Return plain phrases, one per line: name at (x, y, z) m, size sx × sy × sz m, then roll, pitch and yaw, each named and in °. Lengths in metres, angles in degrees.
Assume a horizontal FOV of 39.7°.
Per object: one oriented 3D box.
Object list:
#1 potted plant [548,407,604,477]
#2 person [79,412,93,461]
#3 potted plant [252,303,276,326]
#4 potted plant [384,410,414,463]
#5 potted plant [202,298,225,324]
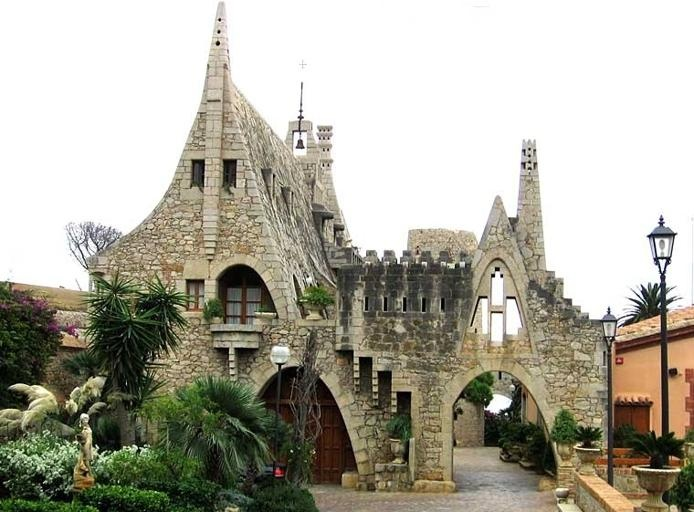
potted plant at (7.897, 6.297, 32.815) m, size 1.745 × 2.411 × 1.630 m, roll -1°, pitch -22°, yaw 11°
person at (-7.579, 5.267, 27.766) m, size 0.385 × 1.284 × 0.997 m, roll 5°, pitch -13°, yaw -16°
potted plant at (-3.247, 2.353, 37.567) m, size 0.699 × 0.584 × 0.838 m, roll 1°, pitch -13°, yaw -3°
potted plant at (2.086, 6.841, 36.273) m, size 1.264 × 2.173 × 1.325 m, roll 0°, pitch -15°, yaw 2°
potted plant at (-5.260, 2.121, 37.538) m, size 0.668 × 1.156 × 0.938 m, roll -1°, pitch 3°, yaw 6°
